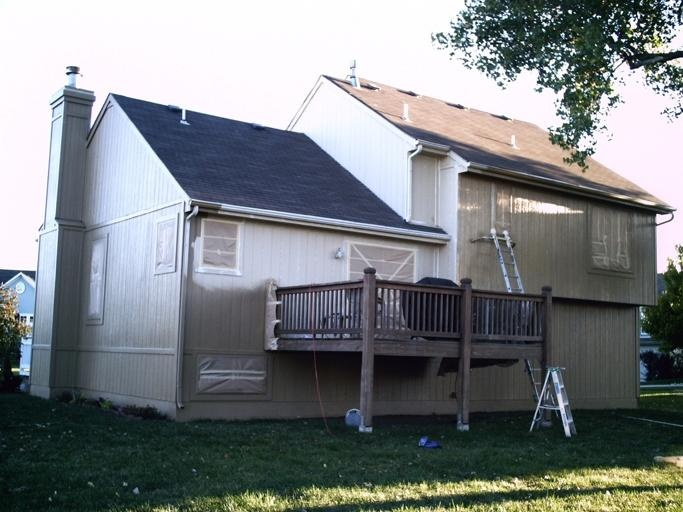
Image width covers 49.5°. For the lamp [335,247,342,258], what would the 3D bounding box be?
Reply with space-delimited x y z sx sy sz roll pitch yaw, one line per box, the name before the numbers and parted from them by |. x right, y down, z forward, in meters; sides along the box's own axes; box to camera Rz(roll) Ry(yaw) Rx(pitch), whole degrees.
lamp | -0.055 -0.078 18.809 0.230 0.276 0.114 2 -7 -17
